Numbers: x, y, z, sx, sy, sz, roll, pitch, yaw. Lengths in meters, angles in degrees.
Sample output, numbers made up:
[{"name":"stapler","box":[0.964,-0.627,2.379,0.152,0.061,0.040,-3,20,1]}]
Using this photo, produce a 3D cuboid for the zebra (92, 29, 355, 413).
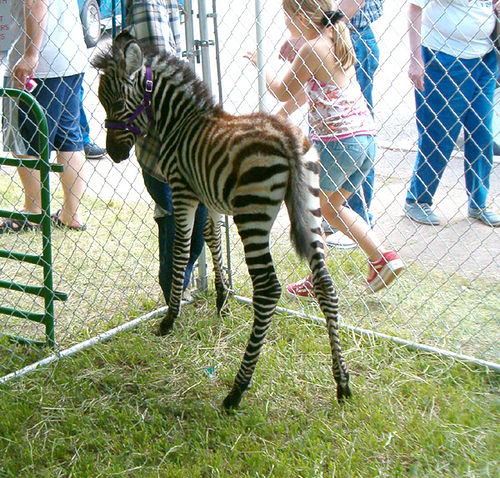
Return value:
[{"name":"zebra","box":[-0.204,-0.170,2.439,1.642,1.469,0.467,27,31,37]}]

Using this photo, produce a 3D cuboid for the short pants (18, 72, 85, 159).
[{"name":"short pants","box":[-1.530,-0.955,3.663,0.453,0.683,0.933,-1,22,-12]}]

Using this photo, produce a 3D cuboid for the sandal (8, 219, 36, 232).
[{"name":"sandal","box":[-1.955,-0.116,4.024,0.218,0.085,0.153,17,25,26]}]

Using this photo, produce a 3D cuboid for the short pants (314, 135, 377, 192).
[{"name":"short pants","box":[0.569,-0.480,2.866,0.302,0.326,0.184,-17,25,-26]}]

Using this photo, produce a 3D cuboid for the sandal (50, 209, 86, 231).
[{"name":"sandal","box":[-1.552,-0.162,3.982,0.232,0.099,0.092,20,22,4]}]
